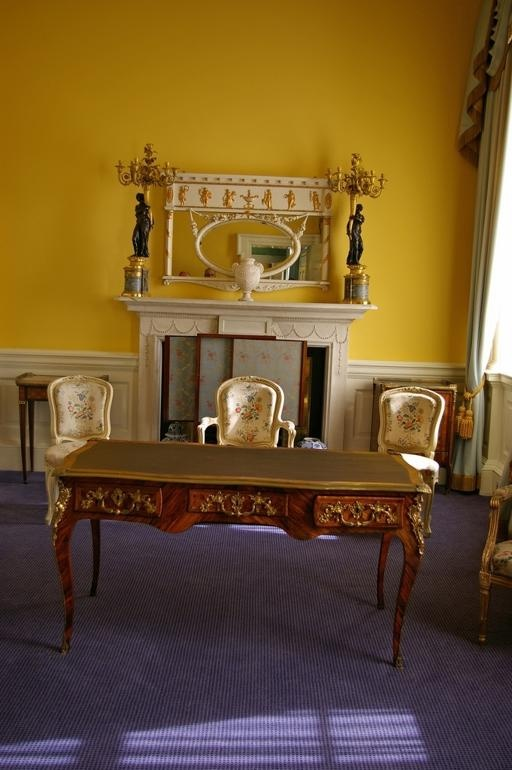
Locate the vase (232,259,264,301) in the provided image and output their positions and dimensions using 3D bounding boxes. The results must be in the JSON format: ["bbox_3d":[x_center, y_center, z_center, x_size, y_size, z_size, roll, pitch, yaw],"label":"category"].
[{"bbox_3d":[-0.071,-0.890,4.954,0.241,0.341,0.153,-1,10,-5],"label":"vase"}]
